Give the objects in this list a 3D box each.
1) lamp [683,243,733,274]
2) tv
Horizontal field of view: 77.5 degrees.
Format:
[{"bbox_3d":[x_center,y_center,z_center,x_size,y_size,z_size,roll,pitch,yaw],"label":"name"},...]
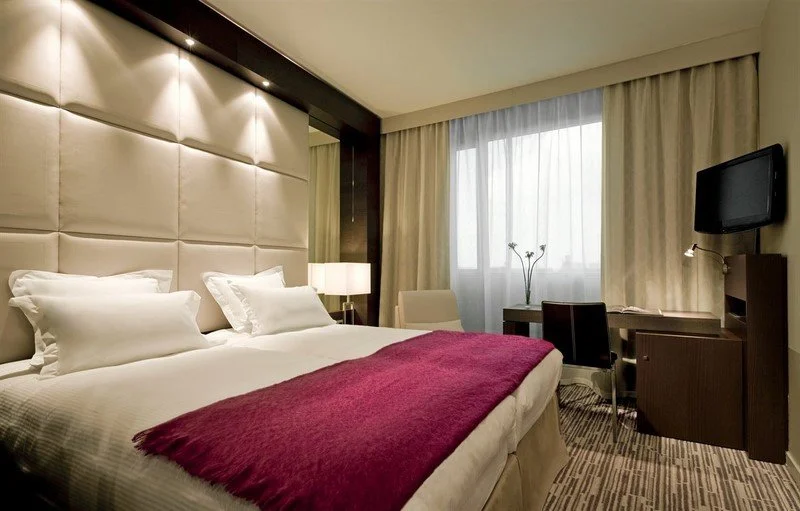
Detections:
[{"bbox_3d":[2.727,0.028,4.457,0.313,0.230,0.410,-2,-1,27],"label":"lamp"},{"bbox_3d":[2.853,-0.533,4.160,0.287,0.693,0.817,3,-6,-12],"label":"tv"}]
